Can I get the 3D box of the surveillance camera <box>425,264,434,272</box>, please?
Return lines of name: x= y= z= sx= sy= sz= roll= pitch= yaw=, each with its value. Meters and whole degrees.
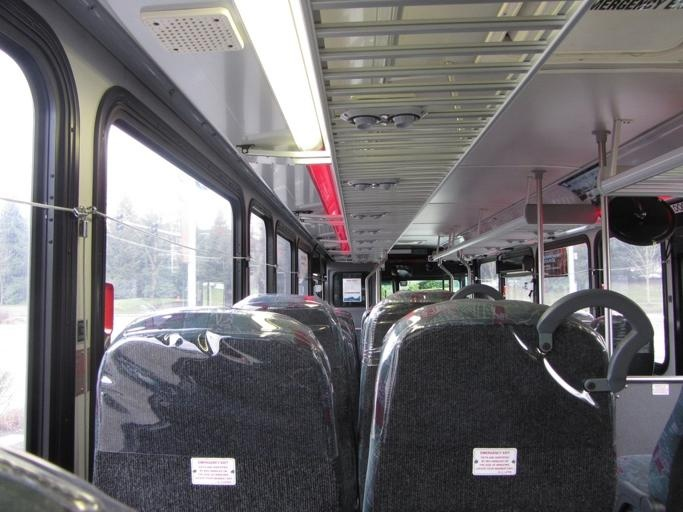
surveillance camera: x=2.297 y=0.288 z=12.957 sx=0.234 sy=0.228 sz=0.057 roll=4 pitch=-6 yaw=-28
